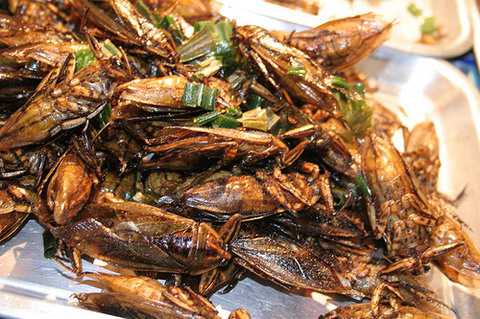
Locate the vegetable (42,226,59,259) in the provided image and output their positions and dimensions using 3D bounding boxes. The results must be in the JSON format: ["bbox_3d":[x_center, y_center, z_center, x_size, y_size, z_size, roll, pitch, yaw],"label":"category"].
[{"bbox_3d":[-1.953,0.871,5.213,0.172,0.066,0.299,7,48,-43],"label":"vegetable"}]
